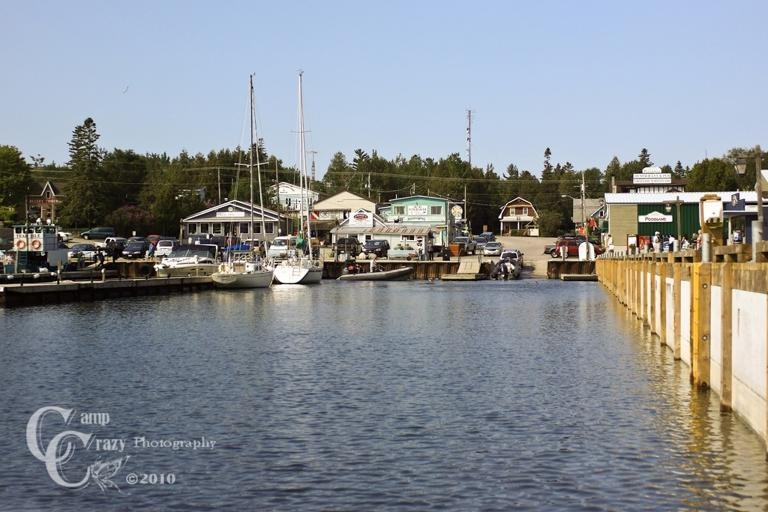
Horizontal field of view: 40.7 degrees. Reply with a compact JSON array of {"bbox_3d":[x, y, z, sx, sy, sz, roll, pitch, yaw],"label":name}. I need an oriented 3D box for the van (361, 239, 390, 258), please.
[{"bbox_3d":[-0.724,-0.425,93.188,1.865,1.651,5.312,1,11,8],"label":"van"}]

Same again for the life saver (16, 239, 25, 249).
[{"bbox_3d":[-22.203,-0.674,63.300,0.520,0.601,0.559,-4,-4,-27],"label":"life saver"}]

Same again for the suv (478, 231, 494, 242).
[{"bbox_3d":[12.480,-2.495,123.438,1.573,1.127,3.251,-1,-4,10],"label":"suv"}]

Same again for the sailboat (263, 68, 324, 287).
[{"bbox_3d":[-6.458,-6.902,82.770,3.852,18.192,13.899,2,-2,-4],"label":"sailboat"}]

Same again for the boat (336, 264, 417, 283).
[{"bbox_3d":[-0.547,1.673,85.959,6.244,1.293,2.079,-3,9,4],"label":"boat"}]
